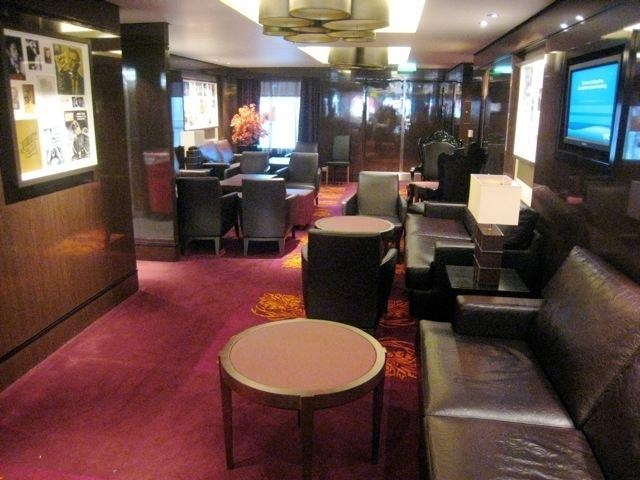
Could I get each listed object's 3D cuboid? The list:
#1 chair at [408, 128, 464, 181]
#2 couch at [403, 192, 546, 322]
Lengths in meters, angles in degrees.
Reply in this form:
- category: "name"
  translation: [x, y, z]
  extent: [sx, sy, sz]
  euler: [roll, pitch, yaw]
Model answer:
- category: "chair"
  translation: [2.209, -1.510, 9.187]
  extent: [0.926, 1.141, 0.830]
  euler: [4, 18, 17]
- category: "couch"
  translation: [1.583, -0.023, 5.595]
  extent: [1.253, 1.066, 2.290]
  euler: [2, 17, 7]
